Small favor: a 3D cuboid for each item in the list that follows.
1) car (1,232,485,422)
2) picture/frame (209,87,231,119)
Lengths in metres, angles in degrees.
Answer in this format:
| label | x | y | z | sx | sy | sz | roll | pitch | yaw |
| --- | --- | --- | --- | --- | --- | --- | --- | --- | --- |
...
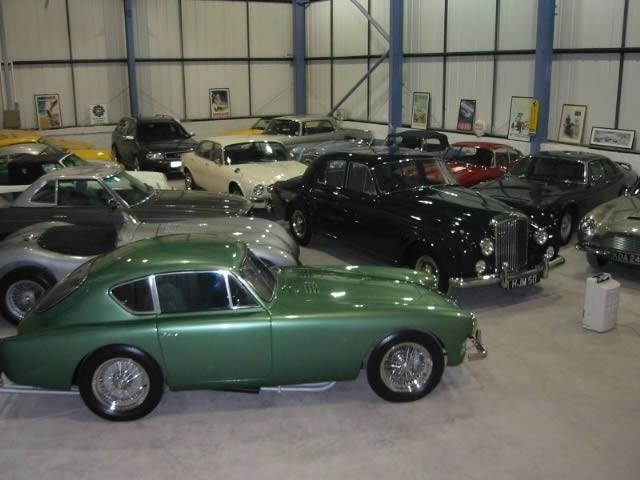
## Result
| label | x | y | z | sx | sy | sz | roll | pitch | yaw |
| --- | --- | --- | --- | --- | --- | --- | --- | --- | --- |
| car | -0.864 | 0.875 | 4.737 | 4.253 | 1.623 | 0.760 | -2 | 14 | -6 |
| picture/frame | -4.729 | -6.451 | 21.632 | 1.253 | 1.783 | 0.127 | -9 | 9 | -40 |
